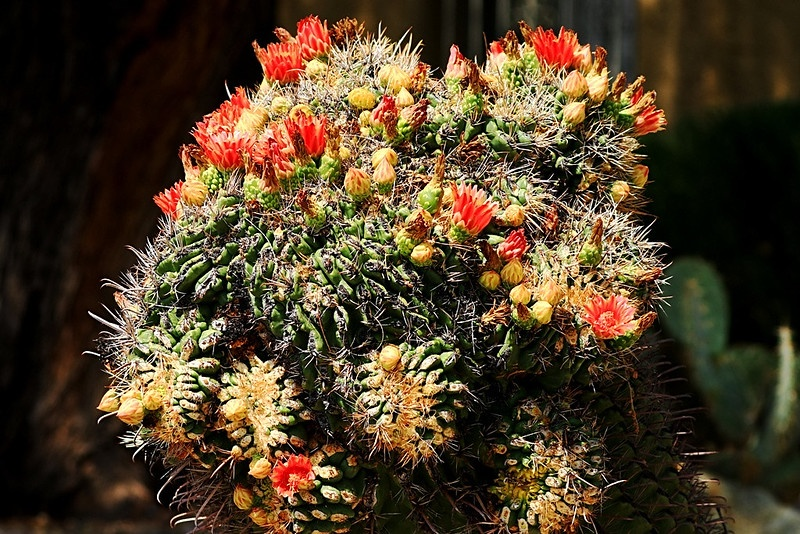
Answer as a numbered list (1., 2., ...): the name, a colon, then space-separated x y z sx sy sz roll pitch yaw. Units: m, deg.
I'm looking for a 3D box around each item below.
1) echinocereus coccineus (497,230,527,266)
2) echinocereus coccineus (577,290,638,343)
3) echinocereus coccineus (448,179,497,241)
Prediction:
1. echinocereus coccineus: 0.308 -0.058 2.531 0.085 0.093 0.033 9 -5 -28
2. echinocereus coccineus: 0.558 0.123 2.531 0.162 0.085 0.168 1 12 24
3. echinocereus coccineus: 0.155 -0.145 2.548 0.167 0.138 0.142 5 -8 33
